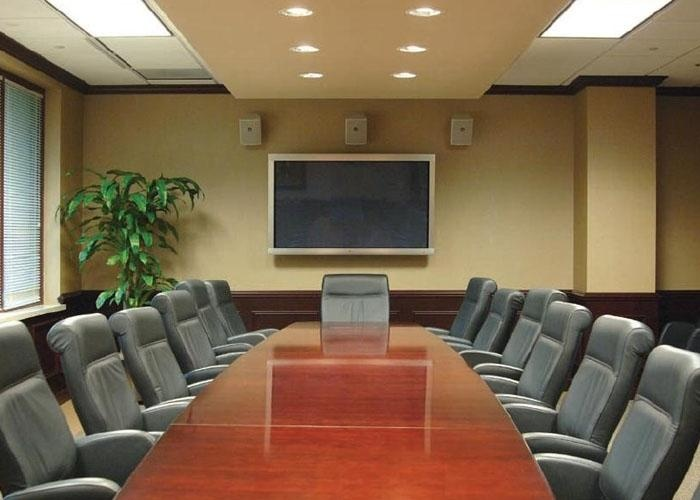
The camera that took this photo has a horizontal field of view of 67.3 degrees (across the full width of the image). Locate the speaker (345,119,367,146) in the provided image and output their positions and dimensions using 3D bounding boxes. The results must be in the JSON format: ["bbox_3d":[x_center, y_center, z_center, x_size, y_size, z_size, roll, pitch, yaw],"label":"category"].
[{"bbox_3d":[0.070,-1.352,6.278,0.244,0.362,0.353,-1,2,1],"label":"speaker"}]

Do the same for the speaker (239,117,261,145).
[{"bbox_3d":[-1.182,-1.396,6.243,0.298,0.423,0.291,1,8,1],"label":"speaker"}]

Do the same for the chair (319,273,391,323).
[{"bbox_3d":[0.053,0.540,5.497,0.478,0.749,0.569,0,-8,0],"label":"chair"}]

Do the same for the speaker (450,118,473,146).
[{"bbox_3d":[1.330,-1.415,6.280,0.339,0.362,0.261,0,-3,0],"label":"speaker"}]
